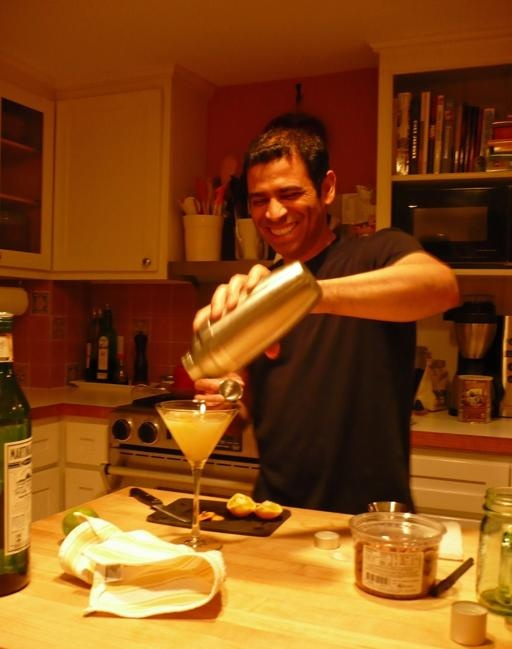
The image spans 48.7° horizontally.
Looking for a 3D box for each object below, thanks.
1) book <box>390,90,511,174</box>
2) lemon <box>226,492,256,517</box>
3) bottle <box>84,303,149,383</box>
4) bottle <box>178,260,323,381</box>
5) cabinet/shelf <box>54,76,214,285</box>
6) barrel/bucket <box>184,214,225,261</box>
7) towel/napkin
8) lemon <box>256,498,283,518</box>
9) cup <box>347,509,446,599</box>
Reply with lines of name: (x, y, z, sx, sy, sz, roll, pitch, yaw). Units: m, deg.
book: (0.711, -0.687, 2.016, 0.387, 0.305, 0.139, 1, 0, 3)
lemon: (-0.023, 0.286, 0.912, 0.033, 0.020, 0.033, 16, 21, 6)
bottle: (-0.688, 0.103, 2.865, 0.416, 0.496, 0.146, 2, -10, -21)
bottle: (-0.004, -0.001, 0.724, 0.211, 0.093, 0.093, -34, 25, 11)
cabinet/shelf: (-0.622, -0.650, 2.616, 0.710, 0.911, 0.224, -1, -3, 27)
barrel/bucket: (-0.224, -0.368, 2.421, 0.202, 0.203, 0.197, 0, -2, 0)
towel/napkin: (-0.129, 0.254, 0.602, 0.108, 0.037, 0.089, 0, 6, 18)
lemon: (0.024, 0.282, 0.876, 0.028, 0.016, 0.027, 6, 5, -2)
cup: (0.153, 0.253, 0.617, 0.083, 0.055, 0.080, 0, -2, 0)
